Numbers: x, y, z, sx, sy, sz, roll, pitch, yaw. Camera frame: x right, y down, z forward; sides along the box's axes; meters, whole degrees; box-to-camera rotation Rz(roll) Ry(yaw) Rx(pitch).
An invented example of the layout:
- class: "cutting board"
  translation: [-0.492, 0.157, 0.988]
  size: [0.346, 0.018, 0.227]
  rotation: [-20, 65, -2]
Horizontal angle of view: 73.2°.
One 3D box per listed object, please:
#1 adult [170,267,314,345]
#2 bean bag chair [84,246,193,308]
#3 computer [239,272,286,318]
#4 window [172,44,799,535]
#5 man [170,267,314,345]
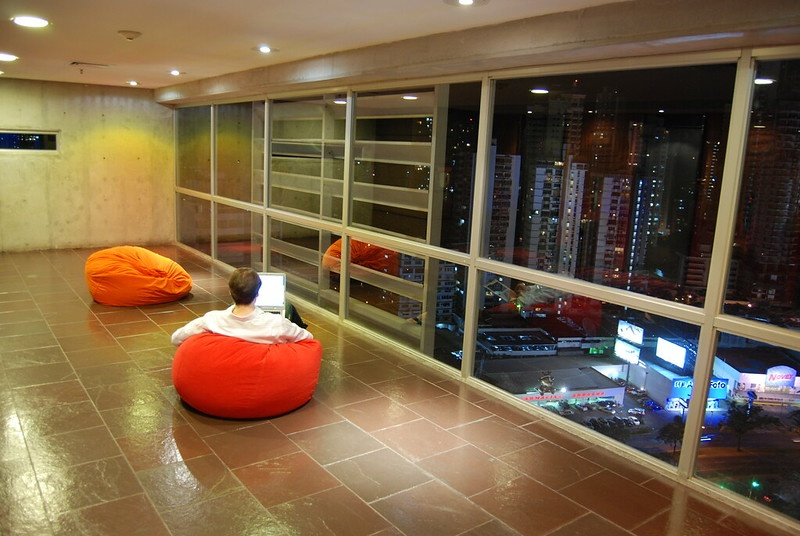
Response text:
- class: "adult"
  translation: [-1.674, 0.415, 5.552]
  size: [1.576, 0.778, 0.755]
  rotation: [7, 6, -15]
- class: "bean bag chair"
  translation: [-4.080, 0.125, 8.266]
  size: [1.261, 0.376, 1.117]
  rotation: [8, 14, -9]
- class: "computer"
  translation: [-1.621, 0.266, 6.029]
  size: [0.522, 0.418, 0.402]
  rotation: [1, -2, 38]
- class: "window"
  translation: [0.691, -0.418, 6.365]
  size: [7.541, 3.670, 0.737]
  rotation: [15, 22, 41]
- class: "man"
  translation: [-1.589, 0.401, 5.375]
  size: [1.314, 0.835, 0.331]
  rotation: [1, 17, -4]
